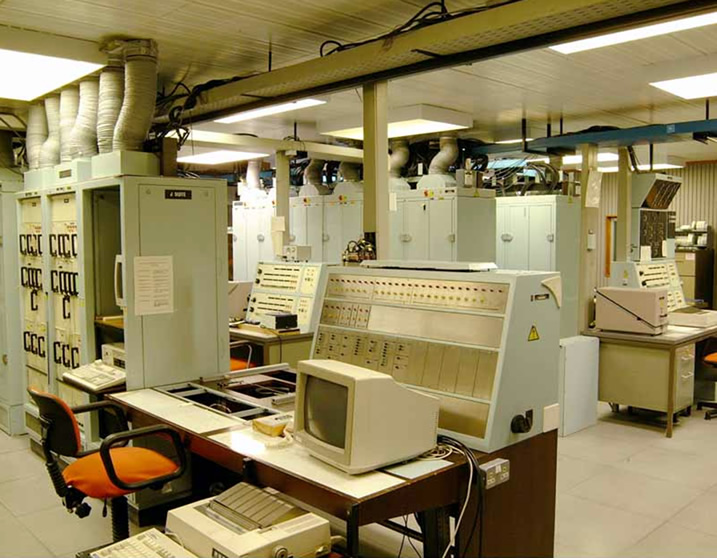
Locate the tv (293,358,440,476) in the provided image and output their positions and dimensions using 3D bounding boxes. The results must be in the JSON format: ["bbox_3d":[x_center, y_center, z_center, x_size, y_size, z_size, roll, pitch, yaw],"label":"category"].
[{"bbox_3d":[0.067,0.580,2.716,0.581,0.380,0.539,-1,3,-37],"label":"tv"}]

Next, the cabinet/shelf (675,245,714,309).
[{"bbox_3d":[6.814,-0.030,11.648,1.012,1.273,0.386,-5,10,-35],"label":"cabinet/shelf"}]

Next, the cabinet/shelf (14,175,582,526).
[{"bbox_3d":[-0.579,0.456,3.884,3.528,1.888,2.505,2,3,44],"label":"cabinet/shelf"}]

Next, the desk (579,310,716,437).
[{"bbox_3d":[3.064,0.790,6.035,1.001,0.829,1.954,1,1,42],"label":"desk"}]

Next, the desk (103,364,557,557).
[{"bbox_3d":[-0.083,0.896,2.804,1.006,0.722,1.523,-1,2,-40],"label":"desk"}]

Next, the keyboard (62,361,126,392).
[{"bbox_3d":[-1.815,0.674,3.971,0.327,0.074,0.218,5,6,39],"label":"keyboard"}]
